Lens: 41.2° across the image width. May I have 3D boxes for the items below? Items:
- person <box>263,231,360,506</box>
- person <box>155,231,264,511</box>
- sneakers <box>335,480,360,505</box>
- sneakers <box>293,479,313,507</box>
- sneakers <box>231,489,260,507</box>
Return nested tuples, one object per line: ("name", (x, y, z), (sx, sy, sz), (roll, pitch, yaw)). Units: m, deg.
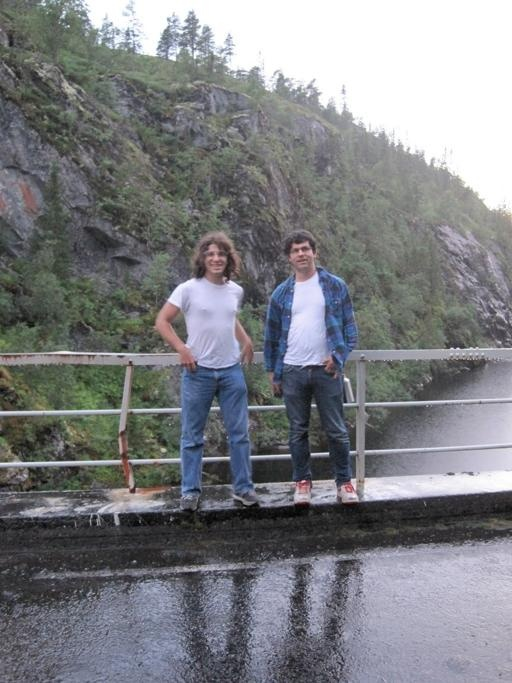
("person", (0.367, 0.146, 4.368), (0.668, 1.686, 0.362), (3, 5, 16))
("person", (-0.306, 0.159, 4.181), (0.599, 1.660, 0.482), (0, 5, -13))
("sneakers", (0.565, 0.947, 4.225), (0.083, 0.081, 0.178), (-3, -8, -8))
("sneakers", (0.289, 0.938, 4.206), (0.124, 0.144, 0.344), (-1, -7, 3))
("sneakers", (-0.064, 0.959, 4.135), (0.165, 0.063, 0.066), (-4, -1, 41))
